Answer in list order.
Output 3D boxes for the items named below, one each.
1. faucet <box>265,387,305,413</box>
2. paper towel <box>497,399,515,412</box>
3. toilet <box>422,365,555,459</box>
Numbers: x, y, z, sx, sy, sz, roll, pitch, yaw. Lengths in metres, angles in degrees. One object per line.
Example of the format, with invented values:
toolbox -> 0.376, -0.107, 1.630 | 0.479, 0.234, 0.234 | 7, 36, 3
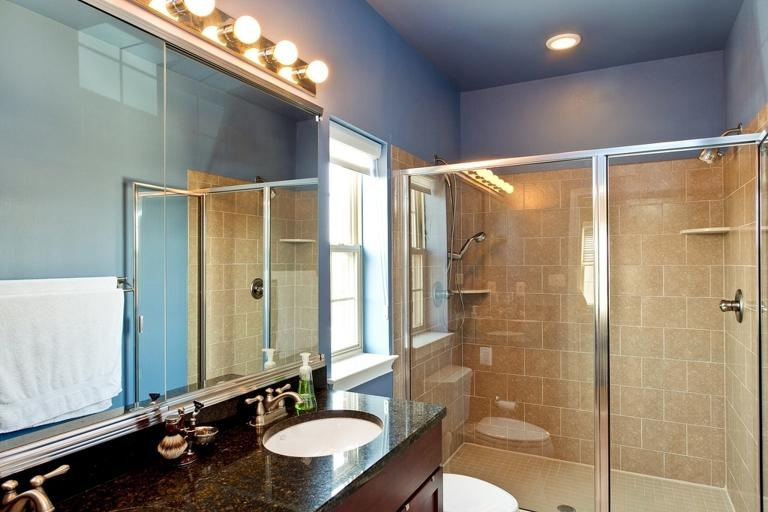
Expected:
faucet -> -0.466, 0.645, 2.474 | 0.140, 0.060, 0.123 | -5, -7, 37
paper towel -> 0.761, 0.923, 3.375 | 0.112, 0.066, 0.008 | 0, 3, 23
toilet -> 0.675, 0.947, 3.428 | 0.756, 0.469, 0.396 | -2, -5, 26
